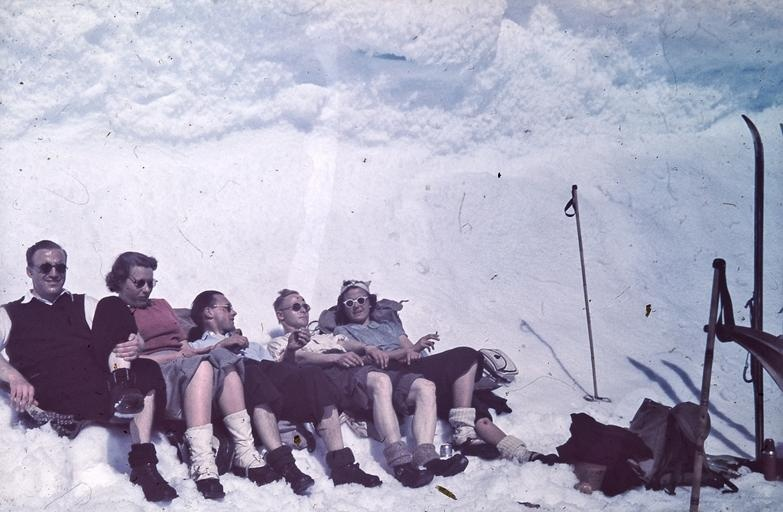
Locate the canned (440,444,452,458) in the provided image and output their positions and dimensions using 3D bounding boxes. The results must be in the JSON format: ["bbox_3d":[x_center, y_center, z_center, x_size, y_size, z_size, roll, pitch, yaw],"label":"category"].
[{"bbox_3d":[0.607,2.184,10.380,0.125,0.125,0.113,-2,86,10],"label":"canned"}]

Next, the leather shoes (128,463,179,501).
[{"bbox_3d":[-2.483,2.337,9.659,0.552,0.263,0.249,17,98,19],"label":"leather shoes"}]

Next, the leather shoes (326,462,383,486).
[{"bbox_3d":[-0.409,2.365,10.055,0.589,0.213,0.246,-3,85,1],"label":"leather shoes"}]
